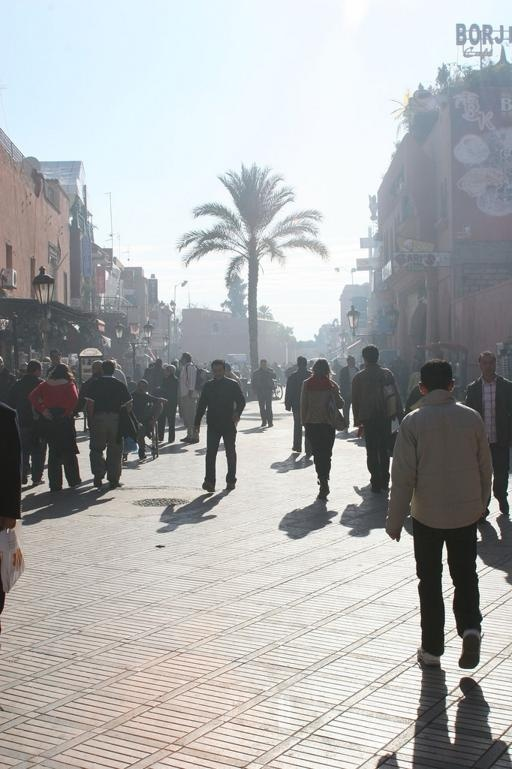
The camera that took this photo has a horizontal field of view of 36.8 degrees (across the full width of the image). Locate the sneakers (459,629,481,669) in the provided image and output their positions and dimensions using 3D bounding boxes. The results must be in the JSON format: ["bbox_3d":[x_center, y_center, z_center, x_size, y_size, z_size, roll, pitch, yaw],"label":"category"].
[{"bbox_3d":[0.961,1.175,3.447,0.069,0.237,0.093,3,23,10],"label":"sneakers"}]

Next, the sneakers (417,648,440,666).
[{"bbox_3d":[0.815,1.292,3.659,0.106,0.064,0.074,-1,-1,23],"label":"sneakers"}]

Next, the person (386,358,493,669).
[{"bbox_3d":[0.902,0.597,3.826,0.503,1.449,0.435,-1,-1,19],"label":"person"}]

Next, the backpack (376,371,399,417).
[{"bbox_3d":[1.762,0.115,10.148,0.269,0.641,0.375,-8,7,-3],"label":"backpack"}]

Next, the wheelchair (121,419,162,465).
[{"bbox_3d":[-2.202,1.008,14.538,0.570,1.082,0.852,2,4,-2],"label":"wheelchair"}]
